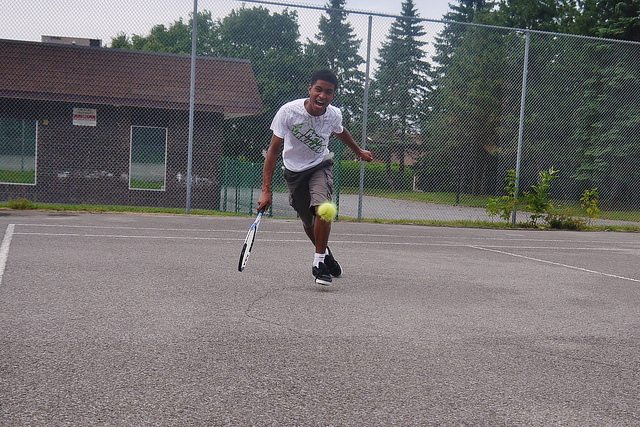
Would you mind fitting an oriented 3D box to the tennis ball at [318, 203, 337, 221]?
[{"bbox_3d":[0.084,-0.012,6.030,0.219,0.209,0.177,0,5,-18],"label":"tennis ball"}]

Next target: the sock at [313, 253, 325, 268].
[{"bbox_3d":[-0.017,0.543,6.141,0.119,0.143,0.152,2,5,-4],"label":"sock"}]

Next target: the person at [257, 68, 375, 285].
[{"bbox_3d":[-0.150,-0.452,6.248,1.159,2.432,0.886,1,5,-6],"label":"person"}]
